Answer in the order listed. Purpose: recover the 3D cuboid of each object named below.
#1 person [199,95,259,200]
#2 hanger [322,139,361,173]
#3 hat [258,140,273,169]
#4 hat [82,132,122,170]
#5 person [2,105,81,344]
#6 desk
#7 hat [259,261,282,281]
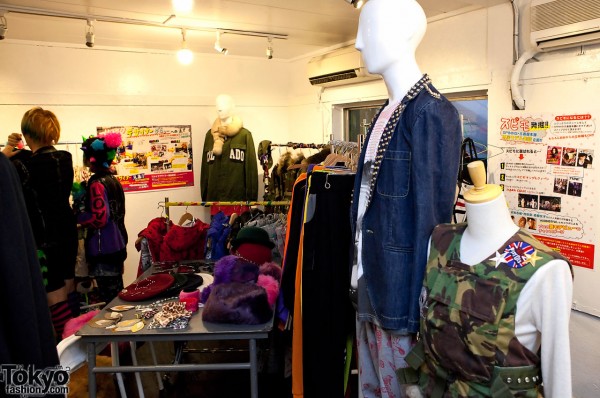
[{"bbox_3d":[-1.014,-0.710,5.648,0.746,1.496,0.285,-2,8,-2],"label":"person"},{"bbox_3d":[0.338,-0.342,3.076,0.224,0.112,0.300,-8,14,-36],"label":"hanger"},{"bbox_3d":[-0.509,-0.633,5.659,0.184,0.408,0.376,-3,9,-6],"label":"hat"},{"bbox_3d":[-2.000,-0.506,4.052,0.360,0.369,0.374,2,11,24],"label":"hat"},{"bbox_3d":[-2.258,0.218,3.520,0.493,2.052,0.641,-7,10,-32],"label":"person"},{"bbox_3d":[-0.831,1.023,2.844,1.274,0.879,0.768,-2,9,-4],"label":"desk"},{"bbox_3d":[-0.229,0.564,3.019,0.141,0.115,0.146,-17,48,8],"label":"hat"}]
